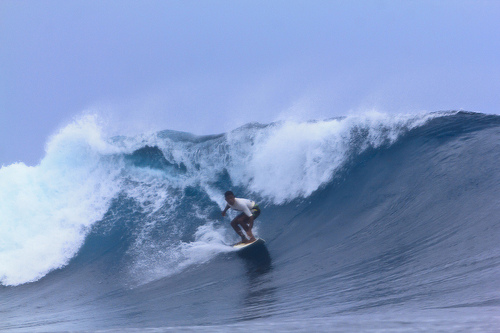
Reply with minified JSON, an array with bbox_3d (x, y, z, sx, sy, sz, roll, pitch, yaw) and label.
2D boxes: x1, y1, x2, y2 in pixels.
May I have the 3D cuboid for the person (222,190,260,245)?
[{"bbox_3d":[-0.225,1.538,16.402,1.272,1.650,1.267,-8,9,-9],"label":"person"}]
